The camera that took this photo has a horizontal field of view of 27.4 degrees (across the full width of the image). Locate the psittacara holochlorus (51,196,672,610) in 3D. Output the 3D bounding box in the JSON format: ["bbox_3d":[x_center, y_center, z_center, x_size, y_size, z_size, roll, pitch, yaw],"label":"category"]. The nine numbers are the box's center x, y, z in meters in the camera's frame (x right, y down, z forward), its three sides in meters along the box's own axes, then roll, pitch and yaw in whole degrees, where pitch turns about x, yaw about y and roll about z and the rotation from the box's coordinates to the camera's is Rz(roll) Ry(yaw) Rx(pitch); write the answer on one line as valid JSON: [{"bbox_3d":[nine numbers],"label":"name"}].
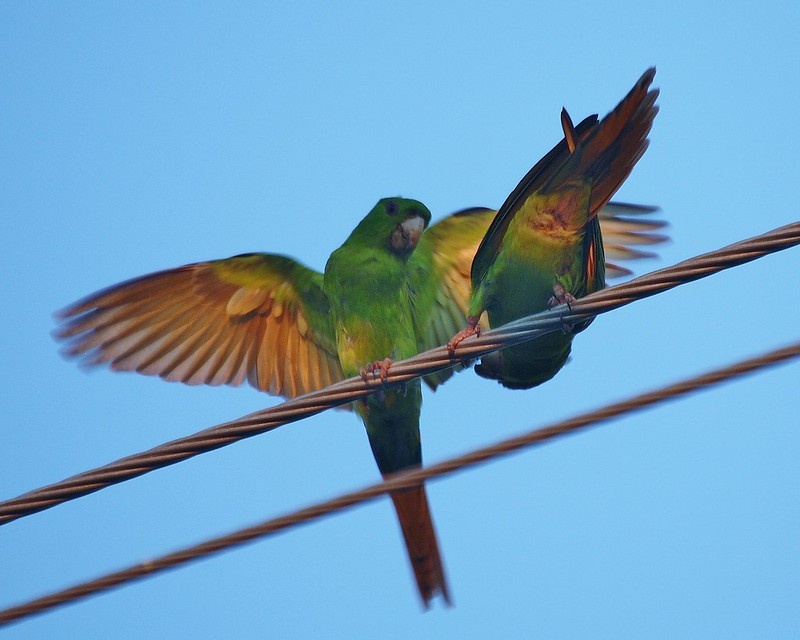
[{"bbox_3d":[-0.534,0.034,8.151,2.541,1.950,1.052,-14,65,-19],"label":"psittacara holochlorus"}]
